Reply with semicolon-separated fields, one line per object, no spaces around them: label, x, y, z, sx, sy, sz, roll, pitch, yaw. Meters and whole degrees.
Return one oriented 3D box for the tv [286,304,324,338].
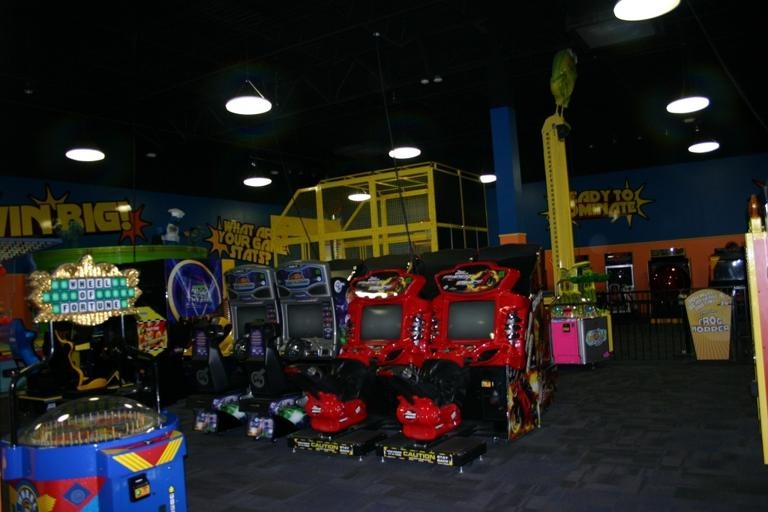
tv;-1.124;0.932;7.975;0.599;0.449;0.094;-1;6;29

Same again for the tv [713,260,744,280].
tv;7.138;0.310;11.669;0.503;0.443;0.347;0;6;30

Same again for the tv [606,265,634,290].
tv;7.358;0.692;17.470;0.852;0.951;0.083;-1;-4;25

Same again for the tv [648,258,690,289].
tv;8.481;0.530;16.702;1.043;0.907;0.264;-3;-14;38
